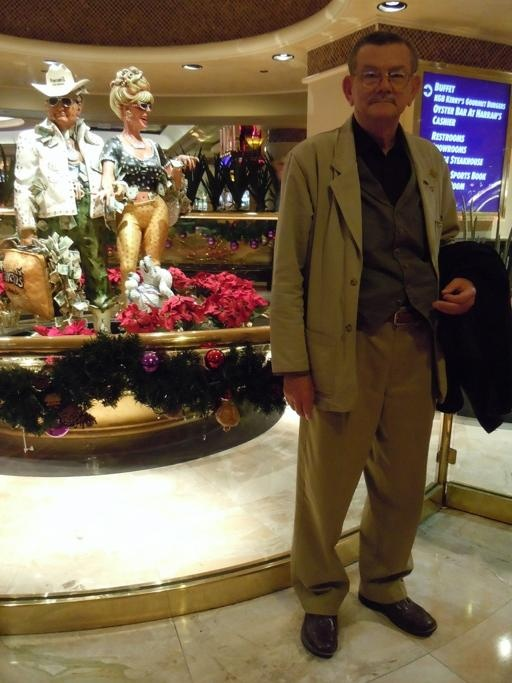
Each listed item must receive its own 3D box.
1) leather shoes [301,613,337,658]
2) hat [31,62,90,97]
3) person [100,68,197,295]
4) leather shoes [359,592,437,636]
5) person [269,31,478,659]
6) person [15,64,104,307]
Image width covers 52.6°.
[{"bbox_3d":[0.163,0.761,1.350,0.079,0.066,0.172,2,-3,-5],"label":"leather shoes"},{"bbox_3d":[-1.058,-1.414,2.815,0.236,0.226,0.234,1,13,-20],"label":"hat"},{"bbox_3d":[-0.618,-0.909,2.970,0.508,1.223,0.721,3,13,-9],"label":"person"},{"bbox_3d":[0.406,0.746,1.472,0.064,0.065,0.185,-15,11,-37],"label":"leather shoes"},{"bbox_3d":[0.282,0.053,1.287,0.538,1.492,0.315,4,13,-5],"label":"person"},{"bbox_3d":[-1.073,-0.856,2.918,0.525,1.290,0.288,-3,15,-33],"label":"person"}]
